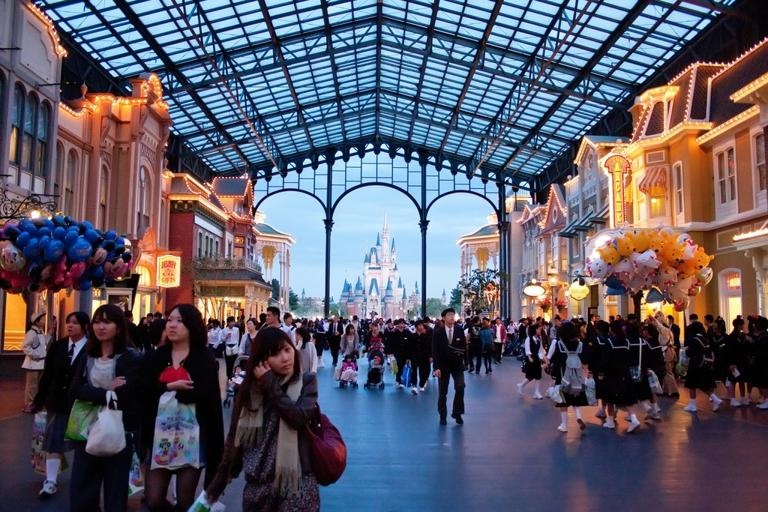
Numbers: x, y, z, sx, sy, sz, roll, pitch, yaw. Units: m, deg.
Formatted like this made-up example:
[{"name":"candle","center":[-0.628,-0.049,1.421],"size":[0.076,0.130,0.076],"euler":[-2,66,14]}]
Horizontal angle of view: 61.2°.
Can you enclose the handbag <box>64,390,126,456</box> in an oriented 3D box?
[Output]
[{"name":"handbag","center":[-3.749,2.180,8.510],"size":[0.737,0.823,0.382],"euler":[-5,-19,16]}]

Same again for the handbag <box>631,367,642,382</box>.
[{"name":"handbag","center":[5.817,2.728,14.995],"size":[0.184,0.326,0.577],"euler":[-4,-11,25]}]

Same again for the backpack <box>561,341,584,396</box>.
[{"name":"backpack","center":[4.091,2.466,14.184],"size":[0.467,1.139,0.294],"euler":[-3,-11,19]}]

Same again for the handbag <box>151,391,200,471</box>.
[{"name":"handbag","center":[-2.669,2.261,8.414],"size":[0.606,1.006,0.269],"euler":[4,-11,-18]}]
